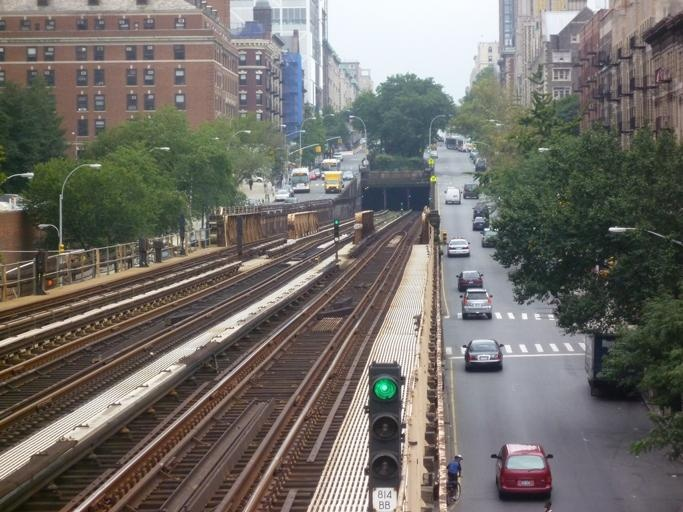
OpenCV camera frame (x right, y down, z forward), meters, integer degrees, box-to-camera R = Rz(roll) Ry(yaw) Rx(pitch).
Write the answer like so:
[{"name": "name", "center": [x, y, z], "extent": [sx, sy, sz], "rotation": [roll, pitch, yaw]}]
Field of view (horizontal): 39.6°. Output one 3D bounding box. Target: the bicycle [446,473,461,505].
[{"name": "bicycle", "center": [4.988, 10.268, 42.339], "extent": [0.432, 1.178, 1.146], "rotation": [3, 11, 19]}]
